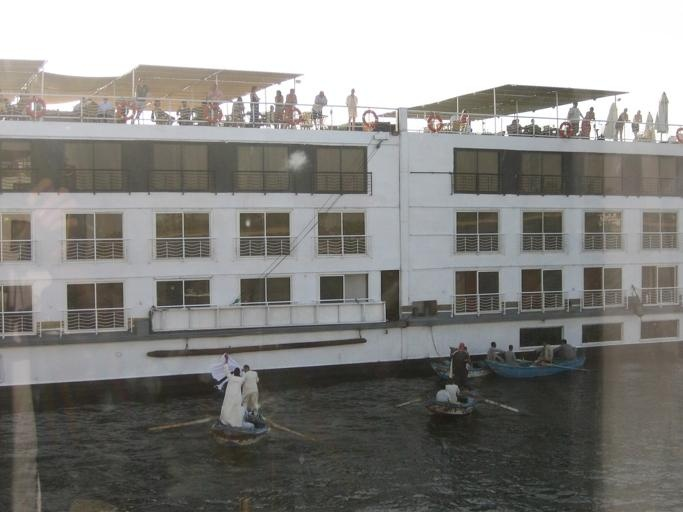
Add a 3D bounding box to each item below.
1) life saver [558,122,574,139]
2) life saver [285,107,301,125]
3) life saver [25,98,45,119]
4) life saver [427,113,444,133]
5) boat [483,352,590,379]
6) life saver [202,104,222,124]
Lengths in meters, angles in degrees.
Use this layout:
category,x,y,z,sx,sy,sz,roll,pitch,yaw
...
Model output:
category,x,y,z,sx,sy,sz,roll,pitch,yaw
life saver,12.445,-7.144,74.890,0.751,0.677,0.368,-3,1,-12
life saver,-2.648,-7.606,72.011,0.894,0.822,1.017,-3,1,-2
life saver,-15.556,-7.586,68.387,1.019,1.105,0.278,3,1,-12
life saver,4.941,-7.250,72.602,0.898,0.965,0.218,1,-3,-18
boat,10.182,6.039,70.468,5.344,1.327,1.797,3,-1,-14
life saver,-6.840,-7.615,70.995,1.010,1.057,0.640,-3,1,16
